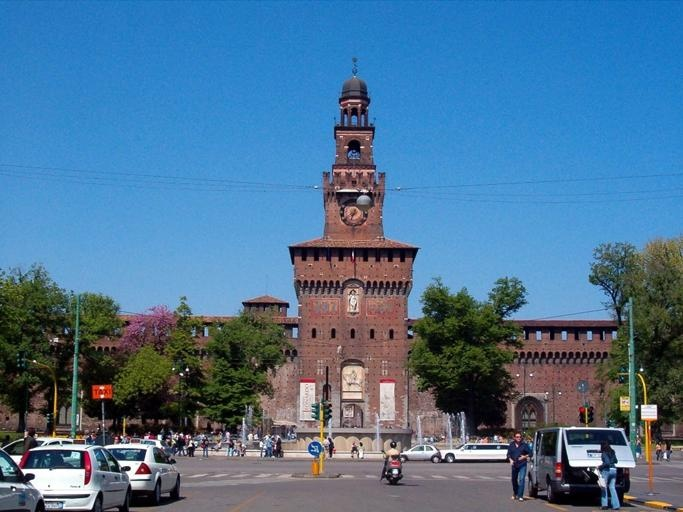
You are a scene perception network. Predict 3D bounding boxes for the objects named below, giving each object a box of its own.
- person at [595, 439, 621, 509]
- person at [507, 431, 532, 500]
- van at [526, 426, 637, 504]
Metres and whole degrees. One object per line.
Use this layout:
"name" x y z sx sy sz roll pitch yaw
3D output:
"person" 12.313 10.077 55.818 0.967 2.923 0.736 -9 -13 20
"person" 8.640 10.177 59.185 1.093 3.336 1.078 -2 -3 32
"van" 11.559 10.141 59.134 3.922 3.441 6.783 2 -9 -13
